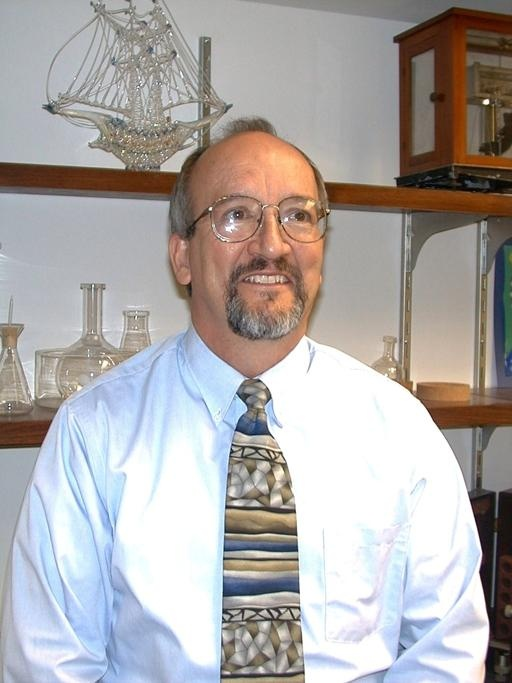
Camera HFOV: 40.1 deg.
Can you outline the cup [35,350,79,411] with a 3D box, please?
[{"bbox_3d":[-0.457,0.086,1.534,0.125,0.124,0.117,1,2,0],"label":"cup"}]
